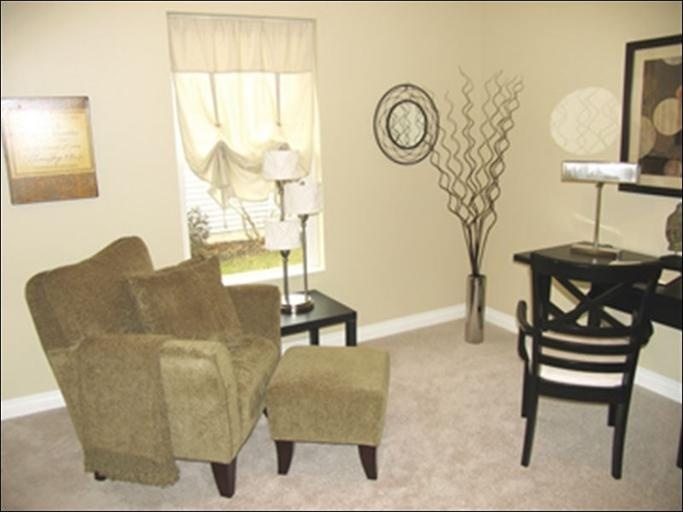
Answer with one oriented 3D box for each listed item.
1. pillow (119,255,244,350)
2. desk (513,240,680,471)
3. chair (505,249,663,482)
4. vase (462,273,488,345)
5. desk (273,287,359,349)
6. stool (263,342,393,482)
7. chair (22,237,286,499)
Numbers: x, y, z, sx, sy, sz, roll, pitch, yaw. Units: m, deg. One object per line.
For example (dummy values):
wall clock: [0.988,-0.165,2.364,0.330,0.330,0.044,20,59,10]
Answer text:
pillow: [-0.872,0.262,3.167,0.150,0.486,0.493,-26,-9,38]
desk: [1.457,0.596,3.152,0.812,1.376,0.969,6,17,23]
chair: [1.353,0.496,3.169,0.699,1.153,0.960,4,18,27]
vase: [1.024,0.393,4.349,0.152,0.532,0.222,-1,16,12]
desk: [-0.164,0.388,3.634,0.342,0.383,0.333,-12,20,-35]
stool: [-0.060,0.703,3.002,0.607,0.571,0.619,1,9,8]
chair: [-0.826,0.642,3.400,1.252,1.422,1.174,2,14,5]
